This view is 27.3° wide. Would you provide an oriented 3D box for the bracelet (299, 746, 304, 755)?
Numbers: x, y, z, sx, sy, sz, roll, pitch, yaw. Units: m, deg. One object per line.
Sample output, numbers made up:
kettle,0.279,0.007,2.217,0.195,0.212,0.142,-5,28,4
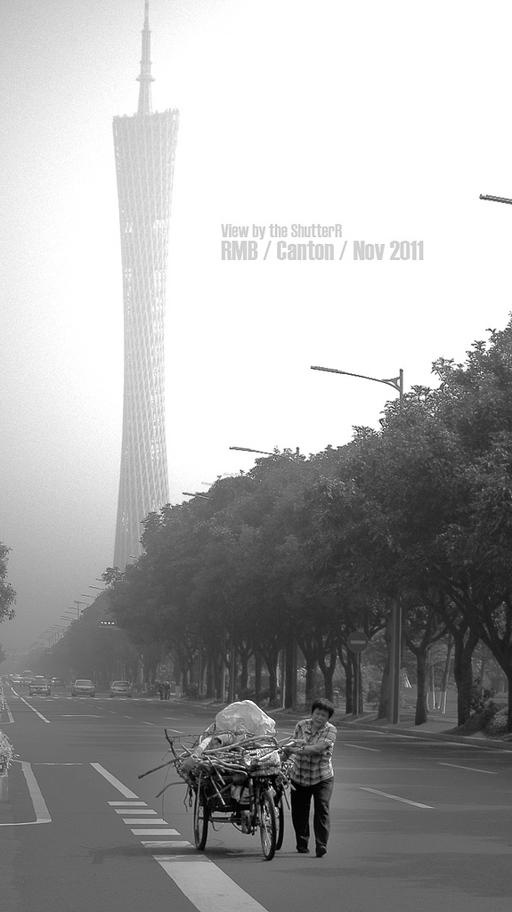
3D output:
bracelet,0.360,2.322,8.335,0.034,0.063,0.056,1,-26,-4
